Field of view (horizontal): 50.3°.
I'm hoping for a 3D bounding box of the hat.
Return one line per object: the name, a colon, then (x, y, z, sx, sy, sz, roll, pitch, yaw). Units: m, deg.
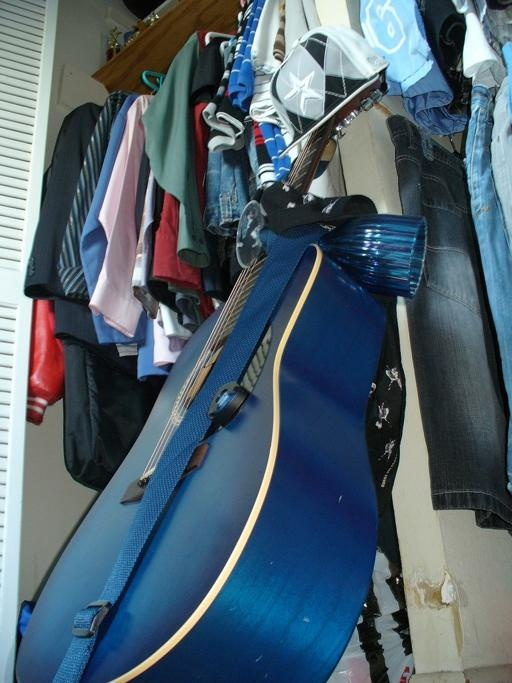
hat: (0.102, -0.381, 0.922, 0.088, 0.212, 0.158, 30, 23, -25)
